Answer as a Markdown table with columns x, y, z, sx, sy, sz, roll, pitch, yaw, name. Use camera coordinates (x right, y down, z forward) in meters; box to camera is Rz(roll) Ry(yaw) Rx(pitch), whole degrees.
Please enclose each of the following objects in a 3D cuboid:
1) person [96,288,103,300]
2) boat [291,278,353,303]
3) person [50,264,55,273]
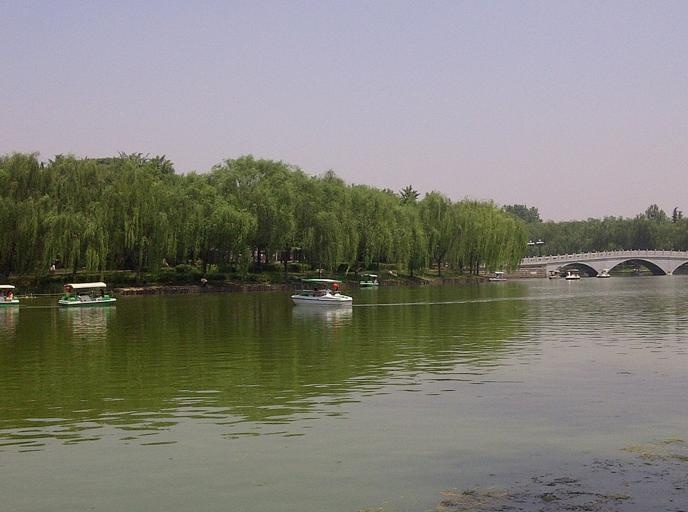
| x | y | z | sx | sy | sz | roll | pitch | yaw | name |
| --- | --- | --- | --- | --- | --- | --- | --- | --- | --- |
| -21.235 | 3.174 | 77.627 | 0.745 | 0.830 | 0.979 | 1 | -10 | -8 | person |
| -2.139 | 3.039 | 69.880 | 4.354 | 1.516 | 2.602 | -2 | -1 | 12 | boat |
| -29.329 | 1.090 | 89.291 | 0.750 | 0.329 | 0.997 | 2 | -19 | -19 | person |
